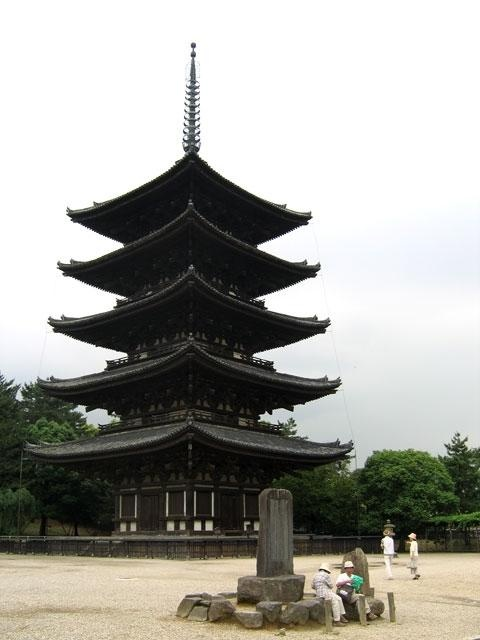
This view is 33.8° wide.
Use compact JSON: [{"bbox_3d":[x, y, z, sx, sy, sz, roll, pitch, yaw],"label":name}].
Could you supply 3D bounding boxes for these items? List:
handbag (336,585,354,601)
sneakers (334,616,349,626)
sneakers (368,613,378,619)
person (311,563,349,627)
[{"bbox_3d":[1.977,5.170,14.896,0.311,0.265,0.111,5,-27,17],"label":"handbag"},{"bbox_3d":[1.840,5.512,14.408,0.366,0.216,0.119,-3,-6,10],"label":"sneakers"},{"bbox_3d":[2.478,5.578,14.820,0.080,0.145,0.286,-16,-22,34],"label":"sneakers"},{"bbox_3d":[1.703,5.045,14.500,0.549,1.062,0.684,1,-19,-13],"label":"person"}]
